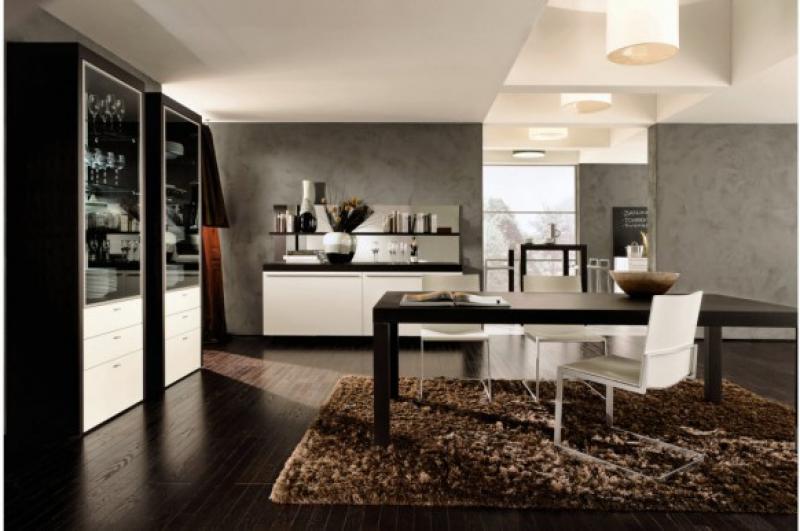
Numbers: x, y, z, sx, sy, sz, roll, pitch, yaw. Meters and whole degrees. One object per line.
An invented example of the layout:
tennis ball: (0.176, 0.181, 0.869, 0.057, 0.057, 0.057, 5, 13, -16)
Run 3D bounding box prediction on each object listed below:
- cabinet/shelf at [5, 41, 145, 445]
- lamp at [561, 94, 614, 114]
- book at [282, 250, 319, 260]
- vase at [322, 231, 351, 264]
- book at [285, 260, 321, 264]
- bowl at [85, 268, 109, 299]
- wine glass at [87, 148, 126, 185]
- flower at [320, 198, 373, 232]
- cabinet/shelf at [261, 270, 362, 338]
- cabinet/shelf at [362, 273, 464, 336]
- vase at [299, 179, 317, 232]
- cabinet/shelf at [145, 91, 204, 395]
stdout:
cabinet/shelf: (-2.633, -0.190, 4.665, 1.089, 3.083, 0.554, -5, 6, -35)
lamp: (2.269, -1.979, 7.031, 0.363, 0.089, 0.341, 1, 0, 5)
book: (-1.338, -0.144, 7.673, 0.574, 0.112, 0.340, 0, 5, 15)
vase: (-0.794, -0.234, 7.517, 0.382, 0.406, 0.183, -2, 5, -7)
book: (-1.251, -0.046, 7.486, 0.401, 0.037, 0.117, -1, 5, 8)
bowl: (-2.454, 0.148, 4.702, 0.179, 0.196, 0.182, 1, 3, 0)
wine glass: (-2.449, -0.812, 4.787, 0.223, 0.306, 0.264, 1, -3, 0)
flower: (-0.723, -0.628, 7.668, 0.495, 0.275, 0.513, -2, -1, -18)
cabinet/shelf: (-1.126, 0.473, 7.432, 1.419, 0.881, 0.768, 0, -1, 1)
cabinet/shelf: (0.107, 0.354, 5.406, 0.762, 0.501, 0.418, -1, -4, 5)
vase: (-1.227, -0.806, 7.900, 0.312, 0.729, 0.302, -7, 14, -22)
cabinet/shelf: (-2.222, -0.227, 5.643, 0.328, 2.809, 0.992, -1, 5, 1)
